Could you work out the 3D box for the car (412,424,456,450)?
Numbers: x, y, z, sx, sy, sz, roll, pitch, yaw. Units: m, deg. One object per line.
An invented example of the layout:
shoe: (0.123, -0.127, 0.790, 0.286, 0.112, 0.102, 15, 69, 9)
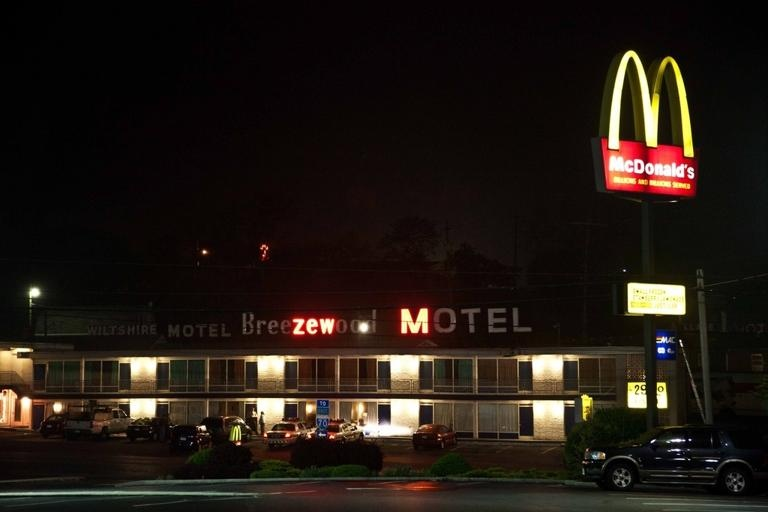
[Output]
car: (3.904, 13.224, 65.763, 1.495, 0.999, 3.126, 0, -2, 28)
